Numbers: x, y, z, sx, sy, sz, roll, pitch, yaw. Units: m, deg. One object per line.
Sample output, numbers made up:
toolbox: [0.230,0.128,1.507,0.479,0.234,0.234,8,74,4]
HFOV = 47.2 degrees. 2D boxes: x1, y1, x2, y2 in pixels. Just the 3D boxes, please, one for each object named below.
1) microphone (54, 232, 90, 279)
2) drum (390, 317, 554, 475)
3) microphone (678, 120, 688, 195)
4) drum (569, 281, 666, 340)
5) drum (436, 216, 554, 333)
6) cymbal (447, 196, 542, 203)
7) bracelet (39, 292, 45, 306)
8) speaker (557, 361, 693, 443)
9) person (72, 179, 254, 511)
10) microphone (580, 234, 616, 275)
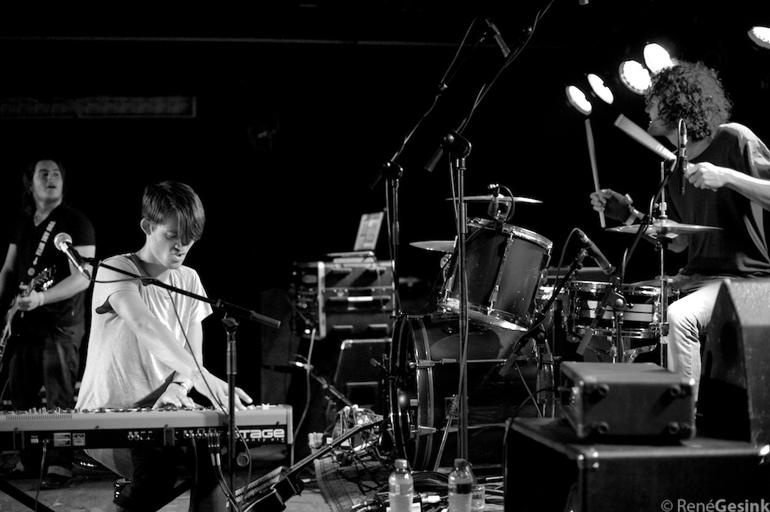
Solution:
microphone: [-2.176,0.001,6.107,0.114,0.368,0.103,-36,1,23]
drum: [0.632,1.061,6.998,1.178,1.180,1.142,2,0,-11]
microphone: [1.754,-0.593,5.209,0.050,0.446,0.151,-1,-3,21]
drum: [1.633,0.396,6.375,0.499,0.267,0.482,1,-6,0]
drum: [0.802,0.124,6.786,0.832,0.761,0.848,7,-16,47]
cymbal: [0.827,-0.440,6.852,0.390,0.037,0.340,-2,2,-34]
bracelet: [-2.634,0.323,6.747,0.020,0.072,0.080,2,-19,-17]
speaker: [1.249,0.740,4.568,0.418,0.248,0.543,1,1,0]
person: [-1.327,0.498,5.191,0.911,1.918,0.780,1,-3,-22]
microphone: [1.754,-0.008,7.254,0.136,0.426,0.118,-43,-3,3]
